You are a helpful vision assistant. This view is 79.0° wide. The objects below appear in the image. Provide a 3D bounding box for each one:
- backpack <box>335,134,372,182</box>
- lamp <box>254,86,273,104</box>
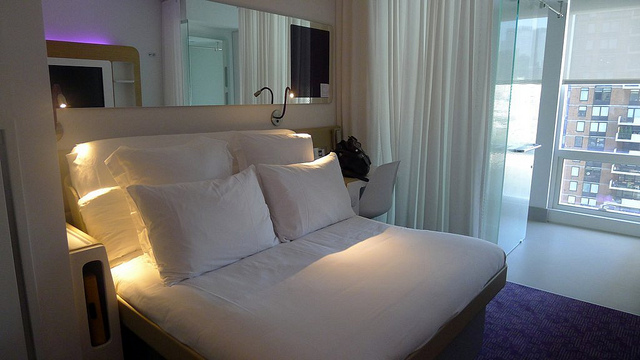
[{"bbox_3d":[0.401,-0.177,4.481,0.340,0.539,0.438,-12,-24,4],"label":"backpack"},{"bbox_3d":[-0.599,-0.922,4.096,0.030,0.095,0.225,13,19,43],"label":"lamp"}]
